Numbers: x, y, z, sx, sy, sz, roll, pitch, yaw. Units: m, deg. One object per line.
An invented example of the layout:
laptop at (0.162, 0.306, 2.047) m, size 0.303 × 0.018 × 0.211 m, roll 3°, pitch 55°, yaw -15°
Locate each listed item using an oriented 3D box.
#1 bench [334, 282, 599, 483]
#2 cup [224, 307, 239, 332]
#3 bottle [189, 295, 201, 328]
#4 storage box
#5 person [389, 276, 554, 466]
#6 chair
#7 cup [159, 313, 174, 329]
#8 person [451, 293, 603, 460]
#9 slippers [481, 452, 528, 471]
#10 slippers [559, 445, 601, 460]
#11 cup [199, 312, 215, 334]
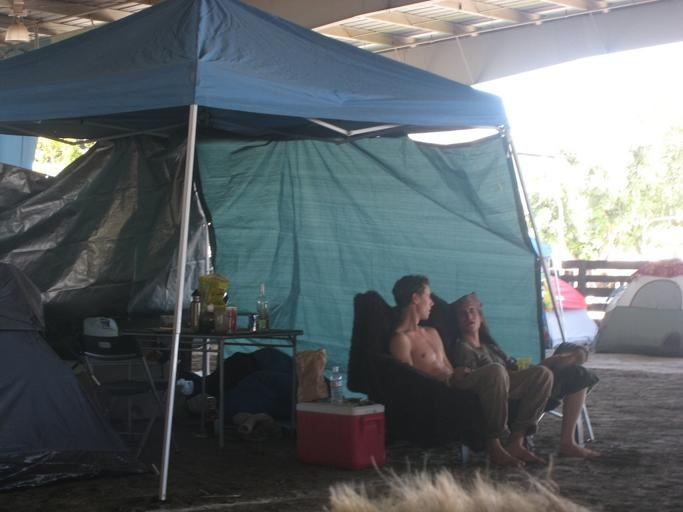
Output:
bench at (0.811, 0.730, 4.432) m, size 1.344 × 0.961 × 1.099 m, roll -11°, pitch -17°, yaw 40°
cup at (-0.734, 0.420, 4.421) m, size 0.069 × 0.161 × 0.091 m, roll 0°, pitch 0°, yaw -18°
bottle at (-0.968, 0.372, 4.489) m, size 0.089 × 0.227 × 0.051 m, roll 1°, pitch 1°, yaw 37°
storage box at (-0.001, 1.101, 4.158) m, size 0.326 × 0.353 × 0.545 m, roll 6°, pitch -10°, yaw -42°
person at (1.181, 0.758, 4.417) m, size 0.963 × 1.120 × 0.650 m, roll -13°, pitch -22°, yaw 22°
chair at (-1.396, 0.847, 4.298) m, size 0.568 × 0.746 × 0.585 m, roll -1°, pitch -13°, yaw -29°
cup at (-1.213, 0.452, 4.627) m, size 0.161 × 0.109 × 0.155 m, roll 1°, pitch -2°, yaw 0°
person at (1.253, 0.862, 4.725) m, size 0.996 × 1.161 × 0.786 m, roll -19°, pitch -20°, yaw 24°
slippers at (0.985, 1.235, 4.053) m, size 0.274 × 0.042 × 0.290 m, roll 1°, pitch 0°, yaw 13°
slippers at (1.494, 1.229, 4.185) m, size 0.260 × 0.156 × 0.092 m, roll -4°, pitch -7°, yaw 14°
cup at (-0.888, 0.432, 4.415) m, size 0.080 × 0.134 × 0.112 m, roll 0°, pitch 0°, yaw -30°
